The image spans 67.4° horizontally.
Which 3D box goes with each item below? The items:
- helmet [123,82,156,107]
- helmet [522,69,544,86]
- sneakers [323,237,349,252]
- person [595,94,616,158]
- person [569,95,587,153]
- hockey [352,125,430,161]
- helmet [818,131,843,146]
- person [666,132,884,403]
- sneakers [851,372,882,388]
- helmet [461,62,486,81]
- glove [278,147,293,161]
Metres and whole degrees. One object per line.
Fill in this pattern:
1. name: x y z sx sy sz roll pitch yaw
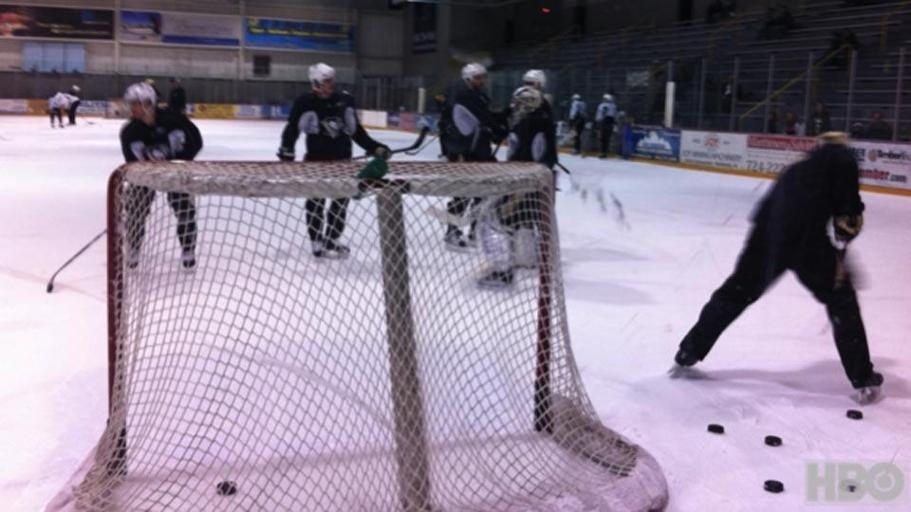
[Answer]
1. helmet: -2.984 -1.504 6.371 0.200 0.213 0.268 22 23 25
2. helmet: 0.767 -1.718 6.634 0.179 0.155 0.375 6 16 11
3. sneakers: -0.975 -0.081 5.801 0.305 0.118 0.089 4 58 -1
4. person: 3.501 -3.057 16.145 0.440 1.411 0.607 6 18 10
5. person: 2.985 -3.240 16.904 0.382 1.394 1.031 6 17 9
6. hockey: -0.772 -1.341 8.354 1.166 0.253 0.097 -3 12 38
7. helmet: 2.551 -0.801 4.636 0.157 0.072 0.213 12 19 30
8. person: 2.336 0.055 4.677 1.315 1.756 0.410 7 18 13
9. sneakers: 2.777 0.852 4.644 0.155 0.065 0.117 -28 -10 34
10. helmet: 0.166 -1.793 6.717 0.230 0.168 0.163 -13 30 -3
11. glove: -1.735 -1.032 6.979 0.196 0.154 0.141 0 4 1
